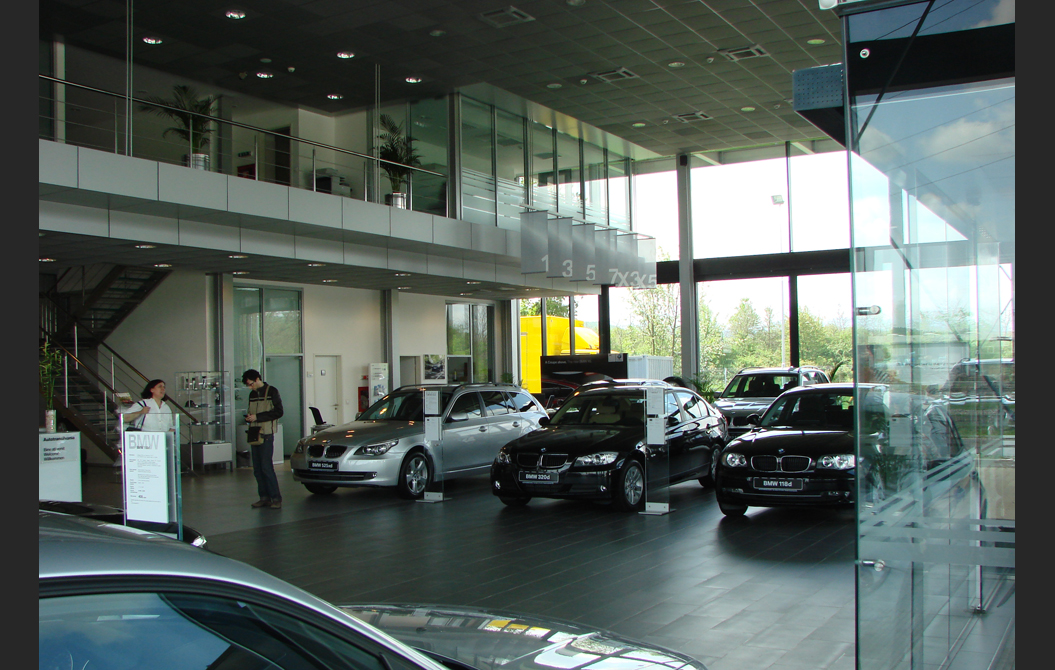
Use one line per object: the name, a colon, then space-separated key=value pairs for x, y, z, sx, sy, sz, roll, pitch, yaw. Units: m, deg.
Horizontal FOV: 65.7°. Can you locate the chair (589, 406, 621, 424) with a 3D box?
chair: x=1.131 y=1.180 z=11.919 sx=0.260 sy=0.281 sz=0.358 roll=0 pitch=13 yaw=13

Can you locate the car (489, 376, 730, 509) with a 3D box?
car: x=1.539 y=1.569 z=12.031 sx=1.620 sy=1.100 sz=3.601 roll=-2 pitch=-3 yaw=33

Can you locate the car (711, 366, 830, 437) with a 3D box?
car: x=5.198 y=1.417 z=18.441 sx=1.540 sy=1.184 sz=3.320 roll=-2 pitch=-3 yaw=29

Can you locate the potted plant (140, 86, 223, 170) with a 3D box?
potted plant: x=-5.719 y=-3.435 z=13.657 sx=1.454 sy=1.203 sz=1.313 roll=-2 pitch=12 yaw=-9

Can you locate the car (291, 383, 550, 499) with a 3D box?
car: x=-1.559 y=1.556 z=13.631 sx=1.862 sy=1.242 sz=4.145 roll=-3 pitch=-4 yaw=37

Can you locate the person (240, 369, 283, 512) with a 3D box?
person: x=-3.881 y=1.515 z=12.062 sx=0.494 sy=2.033 sz=1.000 roll=-1 pitch=-2 yaw=-19

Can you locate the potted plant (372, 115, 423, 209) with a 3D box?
potted plant: x=-2.833 y=-3.920 z=18.231 sx=0.889 sy=2.418 sz=2.069 roll=-1 pitch=-1 yaw=-9

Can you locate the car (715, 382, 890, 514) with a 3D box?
car: x=2.804 y=1.318 z=9.040 sx=1.367 sy=1.007 sz=3.218 roll=-2 pitch=-3 yaw=29

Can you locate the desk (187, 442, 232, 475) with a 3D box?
desk: x=-6.375 y=2.501 z=16.465 sx=0.671 sy=0.504 sz=0.728 roll=-1 pitch=0 yaw=37
